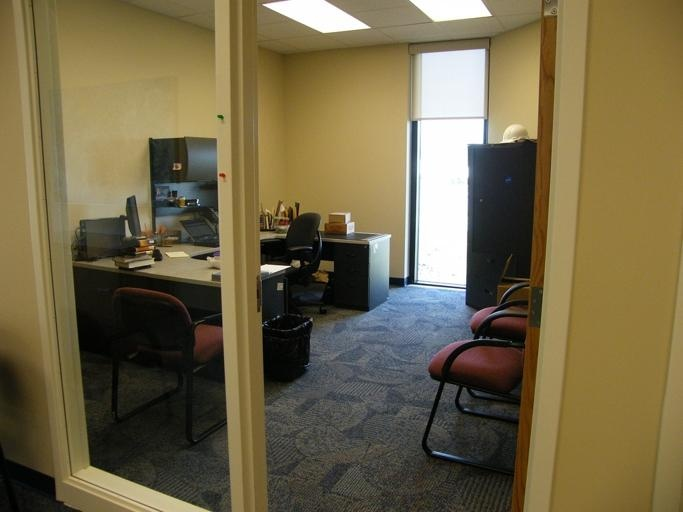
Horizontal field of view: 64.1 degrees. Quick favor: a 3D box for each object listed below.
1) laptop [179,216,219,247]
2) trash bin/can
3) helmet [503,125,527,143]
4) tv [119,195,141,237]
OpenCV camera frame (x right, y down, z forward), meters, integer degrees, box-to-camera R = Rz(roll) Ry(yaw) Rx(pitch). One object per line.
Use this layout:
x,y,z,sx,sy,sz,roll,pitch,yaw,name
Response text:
-0.531,-0.096,2.050,0.098,0.073,0.136,-15,15,-41,laptop
-0.354,0.601,3.641,0.313,0.346,0.396,0,-1,5,trash bin/can
1.432,-0.995,4.467,0.201,0.108,0.160,-12,8,-36,helmet
-0.846,-0.167,2.192,0.049,0.146,0.141,-8,10,-25,tv
